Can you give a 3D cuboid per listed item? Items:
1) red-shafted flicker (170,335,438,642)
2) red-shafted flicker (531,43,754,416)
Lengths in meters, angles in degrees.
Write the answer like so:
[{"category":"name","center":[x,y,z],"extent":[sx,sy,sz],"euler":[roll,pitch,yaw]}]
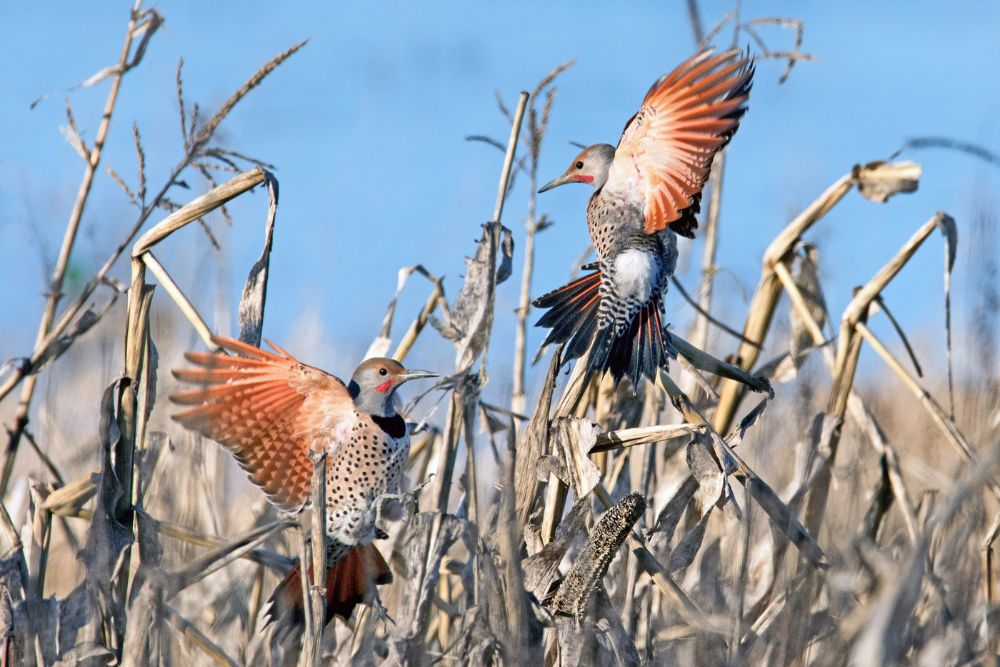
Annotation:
[{"category":"red-shafted flicker","center":[-0.589,0.518,7.035],"extent":[0.932,0.931,1.321],"euler":[-20,-15,27]},{"category":"red-shafted flicker","center":[0.568,-0.367,7.279],"extent":[0.831,1.552,1.131],"euler":[1,-26,0]}]
